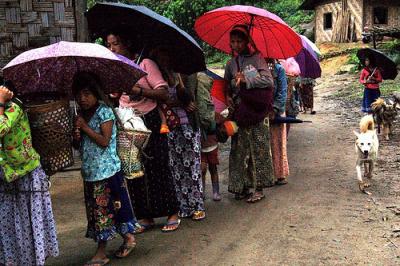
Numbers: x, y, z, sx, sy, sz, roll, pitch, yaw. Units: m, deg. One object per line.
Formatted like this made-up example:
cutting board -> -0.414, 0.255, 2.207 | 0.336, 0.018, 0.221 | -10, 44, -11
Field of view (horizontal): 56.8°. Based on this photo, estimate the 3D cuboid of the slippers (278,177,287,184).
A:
slippers -> 1.512, 0.886, 6.812 | 0.143, 0.126, 0.069 | -9, 42, -14

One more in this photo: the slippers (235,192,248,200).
slippers -> 0.725, 1.084, 6.339 | 0.257, 0.083, 0.089 | -4, 6, -29

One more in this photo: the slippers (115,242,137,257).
slippers -> -0.946, 1.483, 4.683 | 0.115, 0.072, 0.289 | 2, 11, 27

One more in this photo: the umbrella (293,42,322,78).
umbrella -> 2.457, -1.689, 8.324 | 0.917, 0.842, 0.351 | 10, 21, 28

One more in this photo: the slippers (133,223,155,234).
slippers -> -0.795, 1.344, 5.237 | 0.123, 0.083, 0.338 | 3, 3, 35

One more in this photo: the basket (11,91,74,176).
basket -> -1.658, 0.052, 4.158 | 0.462, 0.879, 0.167 | -10, 17, -23

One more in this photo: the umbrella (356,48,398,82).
umbrella -> 5.531, -2.184, 11.576 | 0.566, 0.963, 1.349 | -9, 16, -21

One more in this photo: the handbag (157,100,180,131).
handbag -> -0.462, -0.240, 5.105 | 0.139, 0.352, 0.387 | -7, 0, 39

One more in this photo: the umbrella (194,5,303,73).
umbrella -> 0.885, -1.737, 6.098 | 1.278, 0.500, 1.155 | 19, -20, 8

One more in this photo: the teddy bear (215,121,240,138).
teddy bear -> 0.451, -0.086, 6.084 | 0.328, 0.213, 0.277 | -8, 13, -28

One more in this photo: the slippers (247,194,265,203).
slippers -> 0.914, 1.087, 6.107 | 0.283, 0.076, 0.113 | -1, 0, -25
